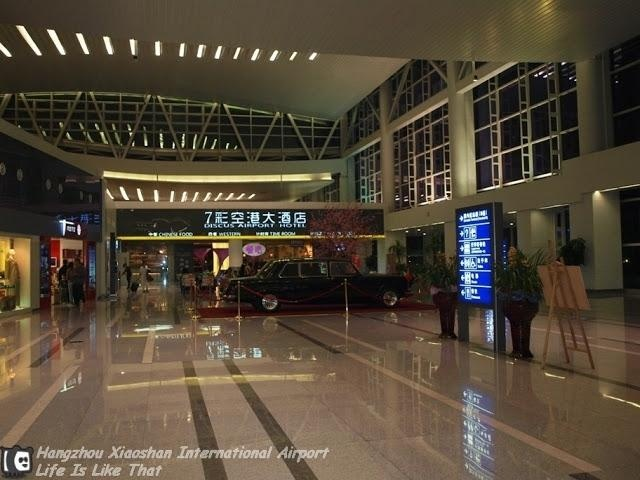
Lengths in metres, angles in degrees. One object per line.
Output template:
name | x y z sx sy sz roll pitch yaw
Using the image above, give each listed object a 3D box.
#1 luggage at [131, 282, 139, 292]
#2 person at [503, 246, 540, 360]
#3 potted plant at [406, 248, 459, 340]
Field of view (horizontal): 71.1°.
luggage | -10.933 2.864 26.434 0.347 0.417 1.607 -2 -1 -22
person | 3.482 1.086 7.820 0.660 2.026 0.705 -3 -1 27
potted plant | 2.617 1.186 9.777 1.105 1.919 0.870 12 -22 -17
